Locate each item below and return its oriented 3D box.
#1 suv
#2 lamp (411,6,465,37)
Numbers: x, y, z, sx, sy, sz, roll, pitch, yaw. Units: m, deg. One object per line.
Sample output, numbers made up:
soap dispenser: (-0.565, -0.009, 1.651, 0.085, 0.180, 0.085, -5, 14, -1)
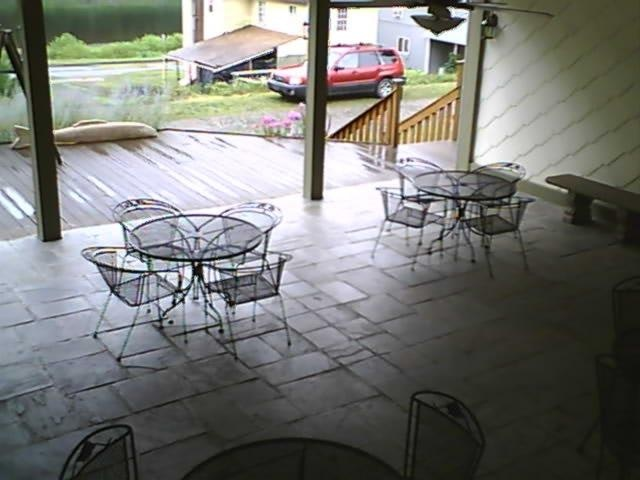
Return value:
suv: (0.669, -5.002, 15.809, 3.917, 1.601, 1.118, -9, 27, -25)
lamp: (1.020, -1.852, 4.512, 0.345, 0.141, 0.268, -5, 34, -13)
